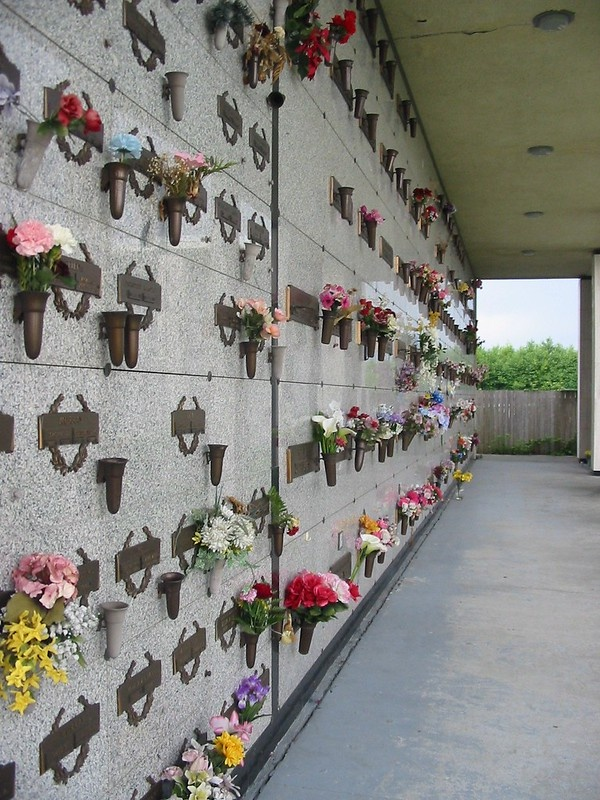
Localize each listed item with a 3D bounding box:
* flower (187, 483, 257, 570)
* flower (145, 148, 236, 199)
[{"bbox_3d":[-0.174,0.281,1.479,0.128,0.133,0.126,4,0,-33],"label":"flower"},{"bbox_3d":[-0.238,-0.414,1.293,0.129,0.070,0.126,-4,5,-35],"label":"flower"}]
